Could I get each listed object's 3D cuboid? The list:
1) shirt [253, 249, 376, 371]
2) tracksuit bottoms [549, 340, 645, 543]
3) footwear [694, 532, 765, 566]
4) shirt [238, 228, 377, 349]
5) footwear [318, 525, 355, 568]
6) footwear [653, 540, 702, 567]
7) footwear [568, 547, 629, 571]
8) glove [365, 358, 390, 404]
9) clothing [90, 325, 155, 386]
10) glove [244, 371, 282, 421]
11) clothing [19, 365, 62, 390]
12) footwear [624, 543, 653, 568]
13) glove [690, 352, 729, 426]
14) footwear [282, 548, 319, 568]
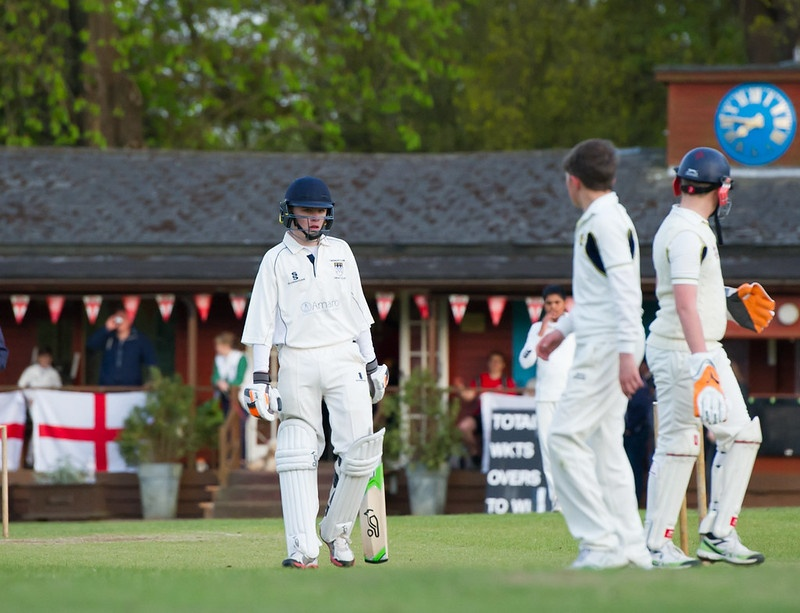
[{"bbox_3d":[-0.986,0.061,22.955,1.299,1.264,0.518,0,-5,-14],"label":"shirt"},{"bbox_3d":[2.094,1.463,22.592,1.064,3.137,1.504,1,-15,9],"label":"tracksuit bottoms"},{"bbox_3d":[3.552,2.627,22.585,0.816,0.417,0.299,3,-2,6],"label":"footwear"},{"bbox_3d":[-1.100,-0.183,24.127,1.608,1.486,0.730,-1,-6,-13],"label":"shirt"},{"bbox_3d":[-0.659,2.655,22.979,0.218,0.600,0.268,-7,-37,-34],"label":"footwear"},{"bbox_3d":[2.948,2.681,22.357,0.561,0.267,0.228,-2,-4,20],"label":"footwear"},{"bbox_3d":[2.112,2.661,21.986,0.624,0.251,0.298,-4,-7,5],"label":"footwear"},{"bbox_3d":[-0.314,0.838,23.279,0.190,0.430,0.319,12,-6,24],"label":"glove"},{"bbox_3d":[-3.992,0.713,29.704,0.936,0.852,0.503,-2,-7,-8],"label":"clothing"},{"bbox_3d":[-1.501,0.993,23.011,0.467,0.592,0.510,2,-1,33],"label":"glove"},{"bbox_3d":[-5.234,1.038,30.087,0.593,0.457,0.322,1,-11,-9],"label":"clothing"},{"bbox_3d":[2.543,2.663,22.059,0.300,0.255,0.155,-2,-7,-9],"label":"footwear"},{"bbox_3d":[3.315,0.882,22.279,0.358,0.765,0.259,-3,-7,7],"label":"glove"},{"bbox_3d":[-1.089,2.756,22.641,0.379,0.193,0.167,10,-7,1],"label":"footwear"}]
